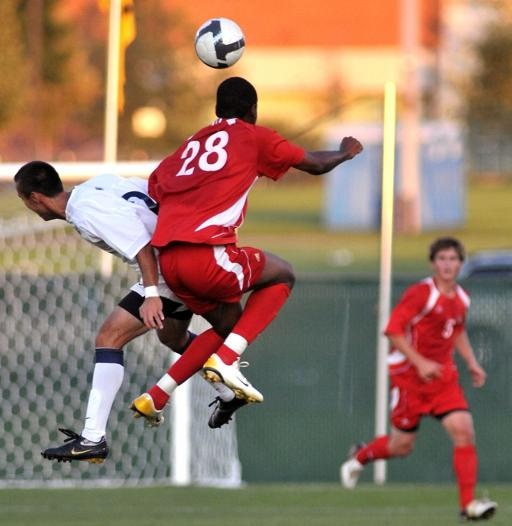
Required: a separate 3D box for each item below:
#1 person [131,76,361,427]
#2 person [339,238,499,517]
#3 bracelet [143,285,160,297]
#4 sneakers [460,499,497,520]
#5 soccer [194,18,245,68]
[{"bbox_3d":[-0.162,-0.022,6.433,1.192,1.896,0.431,-7,9,-6],"label":"person"},{"bbox_3d":[0.986,0.660,6.865,0.609,1.589,0.946,-14,11,-39],"label":"person"},{"bbox_3d":[-0.540,0.145,6.259,0.064,0.042,0.063,-6,9,-44],"label":"bracelet"},{"bbox_3d":[1.191,1.337,6.592,0.088,0.095,0.224,-3,-3,-30],"label":"sneakers"},{"bbox_3d":[-0.207,-1.223,6.768,0.273,0.279,0.207,-6,8,-2],"label":"soccer"}]
